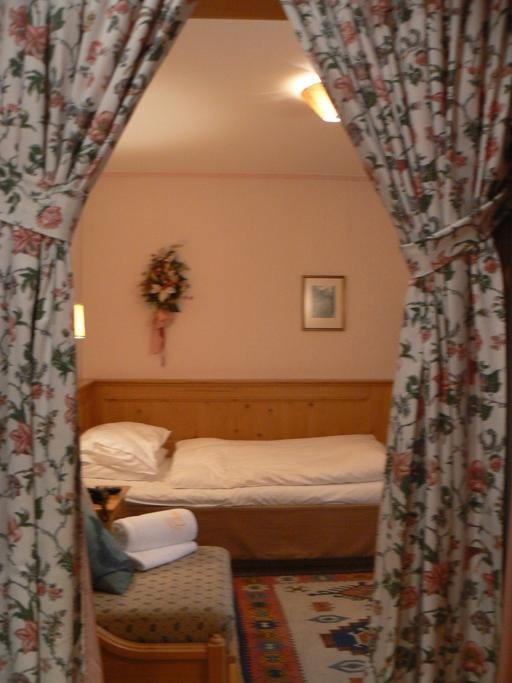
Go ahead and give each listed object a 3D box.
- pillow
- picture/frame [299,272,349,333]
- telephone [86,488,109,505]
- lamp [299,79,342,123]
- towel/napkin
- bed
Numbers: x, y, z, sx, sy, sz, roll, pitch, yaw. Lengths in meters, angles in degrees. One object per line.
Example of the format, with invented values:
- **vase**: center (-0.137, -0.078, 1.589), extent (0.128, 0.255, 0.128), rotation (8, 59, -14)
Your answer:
- **pillow**: center (-0.712, 0.605, 3.365), extent (0.499, 0.156, 0.512), rotation (7, 14, -5)
- **picture/frame**: center (0.457, -0.261, 4.212), extent (0.315, 0.361, 0.012), rotation (2, 4, 34)
- **telephone**: center (-0.691, 0.676, 2.704), extent (0.098, 0.025, 0.097), rotation (1, 8, -12)
- **lamp**: center (0.268, -1.030, 2.647), extent (0.153, 0.141, 0.404), rotation (0, 2, 7)
- **towel/napkin**: center (-0.387, 0.750, 2.417), extent (0.320, 0.108, 0.335), rotation (12, 11, 37)
- **bed**: center (-0.089, 0.753, 3.335), extent (1.428, 0.462, 0.751), rotation (-2, 11, -6)
